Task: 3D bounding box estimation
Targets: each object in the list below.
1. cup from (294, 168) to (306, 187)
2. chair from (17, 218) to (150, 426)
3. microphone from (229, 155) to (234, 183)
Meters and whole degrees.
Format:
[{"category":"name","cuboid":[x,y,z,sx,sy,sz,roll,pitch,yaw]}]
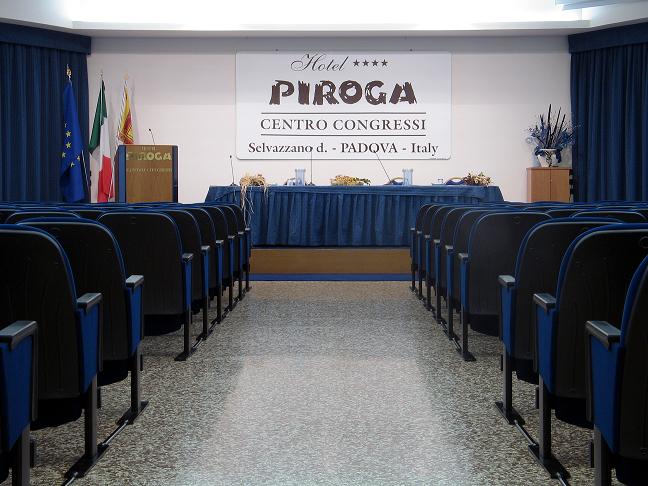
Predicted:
[{"category":"cup","cuboid":[-0.328,-0.905,6.963,0.120,0.215,0.489,-1,6,-4]},{"category":"chair","cuboid":[-1.094,0.366,2.270,0.505,0.963,0.531,-9,6,-22]},{"category":"microphone","cuboid":[-1.647,-1.329,9.162,0.093,0.511,0.194,-2,5,-17]}]
